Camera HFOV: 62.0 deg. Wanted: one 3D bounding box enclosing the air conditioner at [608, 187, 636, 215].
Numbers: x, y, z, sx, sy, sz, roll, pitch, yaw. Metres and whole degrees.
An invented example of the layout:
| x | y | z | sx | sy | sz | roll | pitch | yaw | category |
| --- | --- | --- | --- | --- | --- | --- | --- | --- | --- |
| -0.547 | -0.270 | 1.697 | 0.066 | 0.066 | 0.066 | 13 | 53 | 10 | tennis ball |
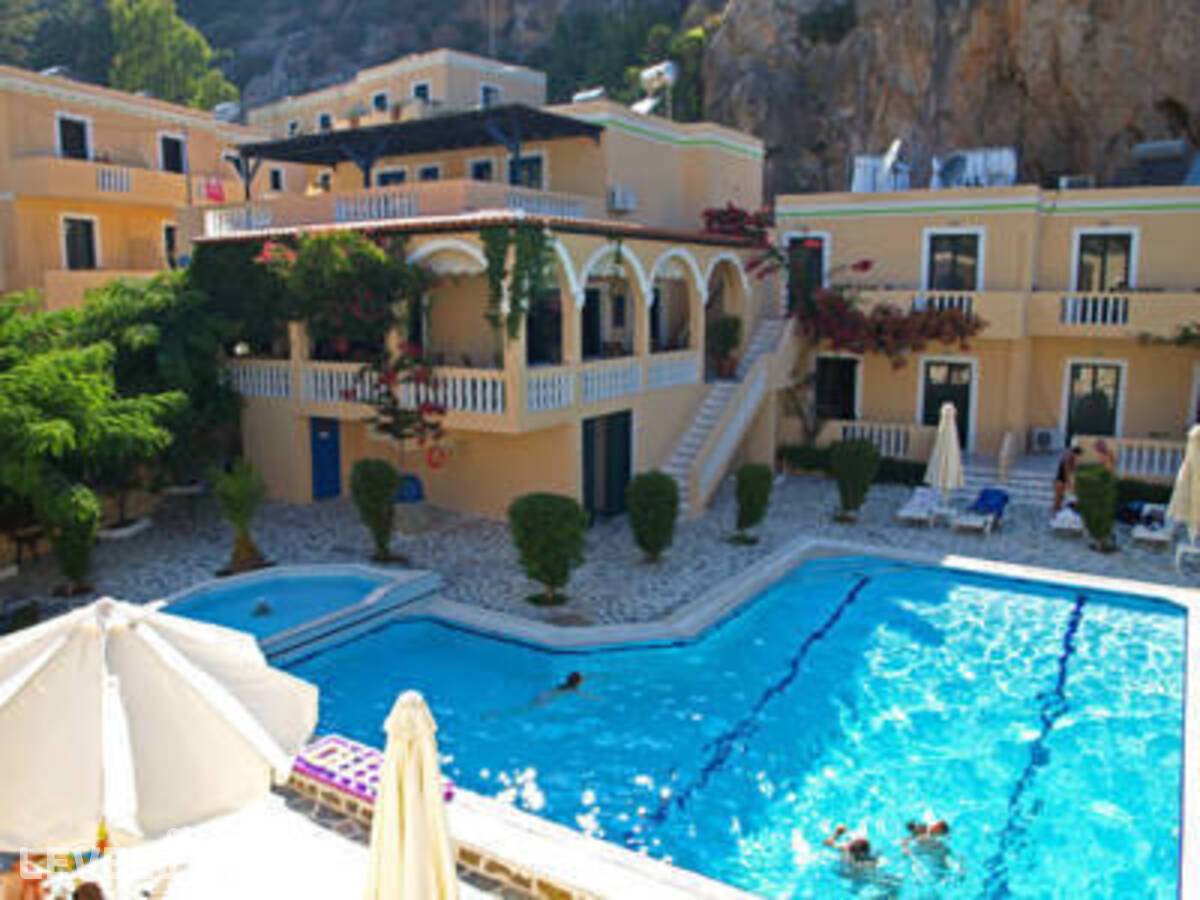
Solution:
| x | y | z | sx | sy | sz | roll | pitch | yaw | category |
| --- | --- | --- | --- | --- | --- | --- | --- | --- | --- |
| 0.542 | -6.734 | 27.236 | 0.261 | 0.639 | 0.791 | 2 | 7 | 24 | air conditioner |

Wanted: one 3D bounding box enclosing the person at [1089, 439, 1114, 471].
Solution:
| x | y | z | sx | sy | sz | roll | pitch | yaw | category |
| --- | --- | --- | --- | --- | --- | --- | --- | --- | --- |
| 11.676 | 0.136 | 23.380 | 0.417 | 0.949 | 0.484 | -18 | 17 | -37 | person |

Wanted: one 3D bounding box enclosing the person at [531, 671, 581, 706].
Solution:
| x | y | z | sx | sy | sz | roll | pitch | yaw | category |
| --- | --- | --- | --- | --- | --- | --- | --- | --- | --- |
| -0.639 | 3.802 | 15.928 | 0.418 | 0.245 | 1.152 | 5 | 11 | 36 | person |

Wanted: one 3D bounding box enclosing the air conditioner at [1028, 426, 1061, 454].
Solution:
| x | y | z | sx | sy | sz | roll | pitch | yaw | category |
| --- | --- | --- | --- | --- | --- | --- | --- | --- | --- |
| 12.588 | -0.223 | 28.485 | 0.888 | 0.986 | 0.584 | 0 | 3 | 14 | air conditioner |

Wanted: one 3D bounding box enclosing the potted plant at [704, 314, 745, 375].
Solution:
| x | y | z | sx | sy | sz | roll | pitch | yaw | category |
| --- | --- | --- | --- | --- | --- | --- | --- | --- | --- |
| 3.678 | -2.936 | 28.516 | 1.320 | 2.284 | 1.574 | 0 | 7 | 3 | potted plant |
